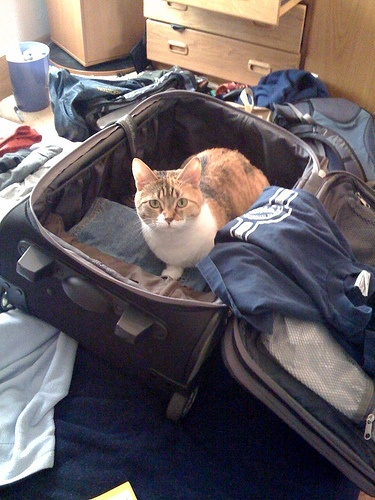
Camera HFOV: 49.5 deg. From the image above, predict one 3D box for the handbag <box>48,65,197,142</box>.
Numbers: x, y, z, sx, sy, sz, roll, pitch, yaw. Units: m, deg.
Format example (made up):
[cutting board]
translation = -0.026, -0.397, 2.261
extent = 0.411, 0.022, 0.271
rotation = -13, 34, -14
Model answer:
[handbag]
translation = -0.230, -0.496, 1.529
extent = 0.434, 0.159, 0.299
rotation = -9, 62, -5
